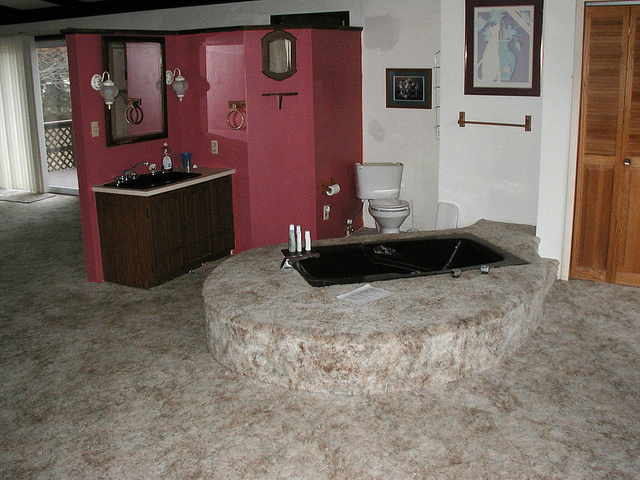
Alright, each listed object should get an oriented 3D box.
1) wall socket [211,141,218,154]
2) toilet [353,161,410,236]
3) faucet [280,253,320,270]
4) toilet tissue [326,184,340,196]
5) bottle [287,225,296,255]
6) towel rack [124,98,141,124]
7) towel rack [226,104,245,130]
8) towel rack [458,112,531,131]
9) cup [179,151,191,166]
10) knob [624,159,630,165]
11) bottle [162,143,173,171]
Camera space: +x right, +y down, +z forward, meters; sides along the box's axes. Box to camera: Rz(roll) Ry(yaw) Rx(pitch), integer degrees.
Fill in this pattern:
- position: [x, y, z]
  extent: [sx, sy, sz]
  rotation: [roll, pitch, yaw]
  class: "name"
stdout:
- position: [-1.272, -1.104, 5.739]
  extent: [0.087, 0.147, 0.022]
  rotation: [6, 19, 24]
  class: "wall socket"
- position: [0.759, -0.545, 5.986]
  extent: [0.602, 0.763, 0.926]
  rotation: [-2, 17, 0]
  class: "toilet"
- position: [-0.144, 0.175, 3.798]
  extent: [0.353, 0.126, 0.105]
  rotation: [1, 5, -25]
  class: "faucet"
- position: [0.167, -0.599, 5.748]
  extent: [0.108, 0.098, 0.235]
  rotation: [12, 17, 32]
  class: "toilet tissue"
- position: [-0.242, -0.009, 3.951]
  extent: [0.067, 0.213, 0.218]
  rotation: [-3, 17, -4]
  class: "bottle"
- position: [-2.081, -1.422, 5.293]
  extent: [0.059, 0.272, 0.229]
  rotation: [4, 18, 19]
  class: "towel rack"
- position: [-0.972, -1.427, 5.520]
  extent: [0.255, 0.335, 0.038]
  rotation: [13, 26, 28]
  class: "towel rack"
- position: [1.884, -1.278, 5.181]
  extent: [0.748, 0.201, 0.078]
  rotation: [3, 18, 14]
  class: "towel rack"
- position: [-1.655, -0.962, 5.714]
  extent: [0.181, 0.197, 0.173]
  rotation: [1, 7, 0]
  class: "cup"
- position: [2.896, -0.731, 4.506]
  extent: [0.045, 0.048, 0.012]
  rotation: [9, 20, 30]
  class: "knob"
- position: [-1.821, -0.982, 5.646]
  extent: [0.105, 0.296, 0.351]
  rotation: [-6, 17, -14]
  class: "bottle"
